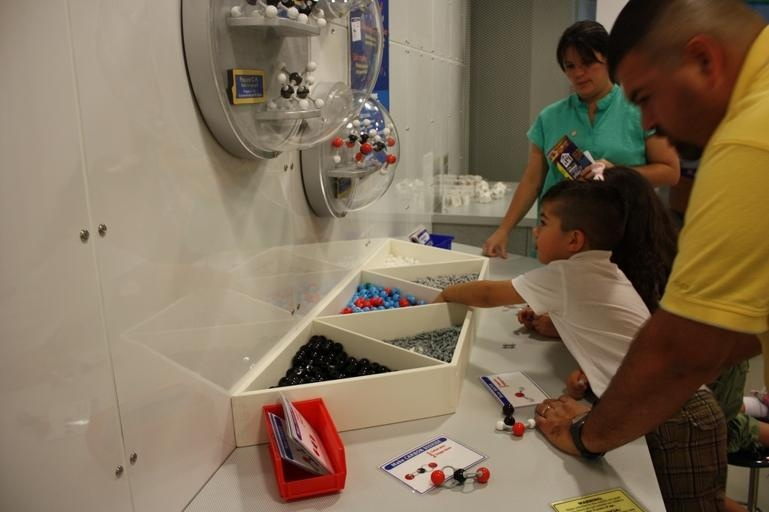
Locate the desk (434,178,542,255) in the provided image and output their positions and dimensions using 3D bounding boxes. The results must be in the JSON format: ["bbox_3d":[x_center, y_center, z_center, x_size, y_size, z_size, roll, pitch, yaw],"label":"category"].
[{"bbox_3d":[0.813,-0.324,4.223,1.000,0.655,0.565,6,48,11],"label":"desk"}]

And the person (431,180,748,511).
[{"bbox_3d":[0.737,0.130,2.236,1.404,1.685,0.525,4,14,37],"label":"person"}]

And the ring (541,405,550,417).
[{"bbox_3d":[0.520,0.497,1.671,0.025,0.007,0.024,-34,25,19],"label":"ring"}]

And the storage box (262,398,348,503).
[{"bbox_3d":[-0.232,0.546,1.488,0.193,0.130,0.286,-2,21,-14],"label":"storage box"}]
